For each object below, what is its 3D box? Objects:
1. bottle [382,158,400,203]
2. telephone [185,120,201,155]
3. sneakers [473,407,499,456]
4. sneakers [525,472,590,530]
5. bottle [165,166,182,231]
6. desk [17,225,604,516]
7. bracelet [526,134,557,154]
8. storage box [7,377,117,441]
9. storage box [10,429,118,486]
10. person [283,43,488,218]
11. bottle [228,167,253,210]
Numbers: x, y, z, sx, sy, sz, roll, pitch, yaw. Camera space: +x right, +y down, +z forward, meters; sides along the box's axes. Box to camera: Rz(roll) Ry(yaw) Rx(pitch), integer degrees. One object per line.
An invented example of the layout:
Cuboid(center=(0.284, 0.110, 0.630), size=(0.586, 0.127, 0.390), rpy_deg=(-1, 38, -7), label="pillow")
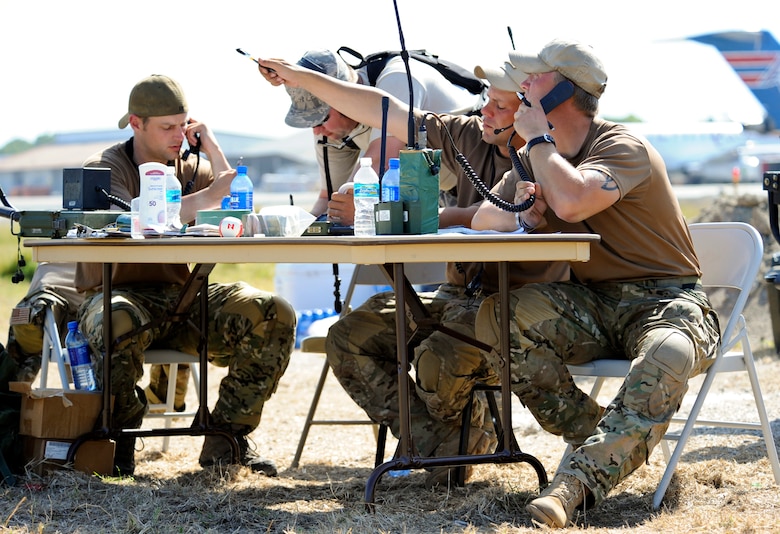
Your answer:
Cuboid(center=(0.002, -0.448, 5.477), size=(0.089, 0.206, 0.259), rpy_deg=(-1, 5, -1), label="bottle")
Cuboid(center=(-1.260, -0.837, 6.904), size=(0.068, 0.197, 0.137), rpy_deg=(3, 10, 36), label="telephone")
Cuboid(center=(0.523, 0.967, 6.243), size=(0.144, 0.291, 0.103), rpy_deg=(0, 2, 28), label="sneakers")
Cuboid(center=(0.834, 1.152, 5.248), size=(0.158, 0.199, 0.439), rpy_deg=(38, 15, 10), label="sneakers")
Cuboid(center=(-1.164, -0.379, 5.791), size=(0.077, 0.325, 0.399), rpy_deg=(-2, 5, -11), label="bottle")
Cuboid(center=(-0.295, 0.526, 5.680), size=(2.726, 1.448, 1.020), rpy_deg=(1, 5, 19), label="desk")
Cuboid(center=(0.795, -0.645, 5.708), size=(0.100, 0.042, 0.106), rpy_deg=(-2, -12, -22), label="bracelet")
Cuboid(center=(-1.828, 0.773, 5.973), size=(0.311, 0.220, 0.310), rpy_deg=(-3, -5, 42), label="storage box")
Cuboid(center=(-1.809, 0.994, 6.011), size=(0.427, 0.324, 0.236), rpy_deg=(4, -12, -33), label="storage box")
Cuboid(center=(-0.063, -1.095, 7.180), size=(1.437, 1.680, 1.127), rpy_deg=(-3, -3, -7), label="person")
Cuboid(center=(-0.813, -0.438, 5.881), size=(0.119, 0.234, 0.381), rpy_deg=(-1, 6, -9), label="bottle")
